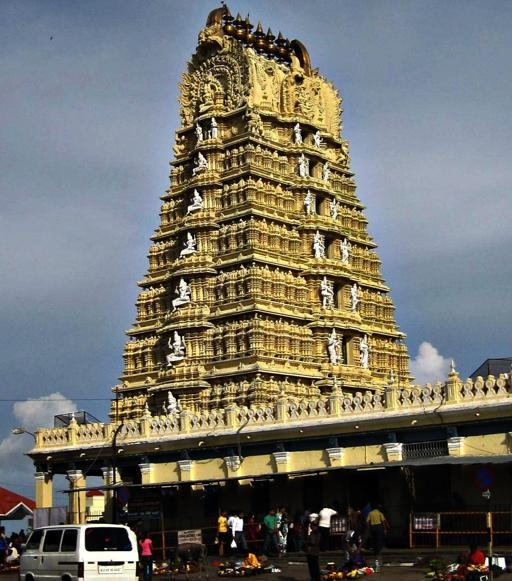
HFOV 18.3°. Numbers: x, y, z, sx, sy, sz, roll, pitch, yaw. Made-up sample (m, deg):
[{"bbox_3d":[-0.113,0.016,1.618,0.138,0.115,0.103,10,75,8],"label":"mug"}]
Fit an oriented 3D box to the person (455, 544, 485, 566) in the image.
[{"bbox_3d":[6.041,7.644,44.915,0.706,0.835,0.661,7,-18,17],"label":"person"}]
